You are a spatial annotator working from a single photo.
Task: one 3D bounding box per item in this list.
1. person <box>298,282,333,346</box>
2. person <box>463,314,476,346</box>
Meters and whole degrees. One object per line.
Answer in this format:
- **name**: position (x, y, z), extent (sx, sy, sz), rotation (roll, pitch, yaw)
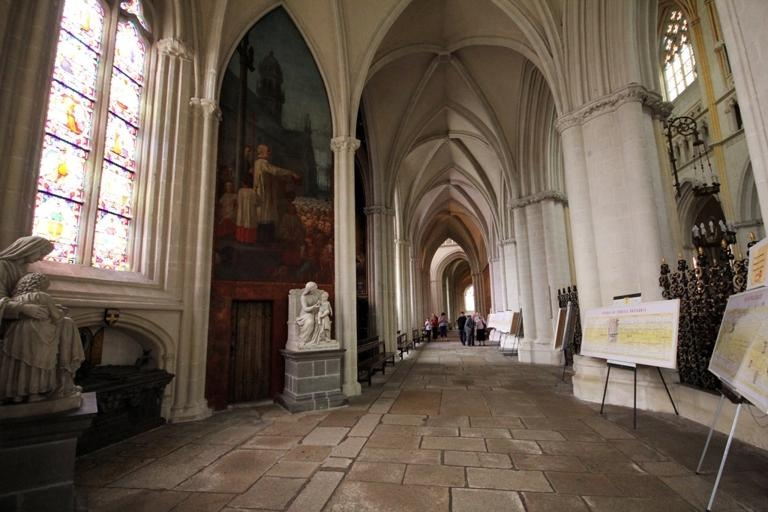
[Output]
- **person**: position (-1.454, 1.168, 8.974), extent (0.686, 1.239, 0.452), rotation (-3, 4, -16)
- **person**: position (4.018, 3.568, 20.657), extent (0.530, 1.272, 1.905), rotation (-1, 4, 11)
